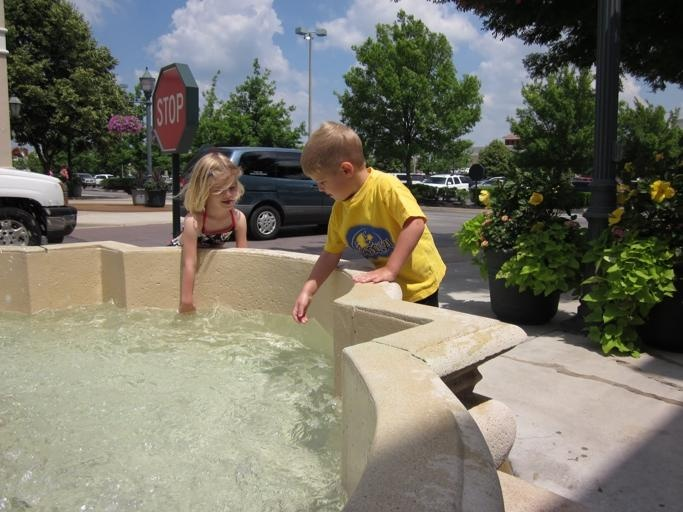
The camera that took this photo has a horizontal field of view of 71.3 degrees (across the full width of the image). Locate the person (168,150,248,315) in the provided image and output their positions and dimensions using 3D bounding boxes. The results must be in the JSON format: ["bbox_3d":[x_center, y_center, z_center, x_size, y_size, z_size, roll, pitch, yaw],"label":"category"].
[{"bbox_3d":[-1.007,-0.238,4.035,0.827,1.296,0.877,7,24,-8],"label":"person"}]

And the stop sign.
[{"bbox_3d":[-1.886,-1.662,5.415,0.287,0.965,0.831,-8,14,-38],"label":"stop sign"}]

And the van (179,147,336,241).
[{"bbox_3d":[-2.034,-1.634,12.033,3.543,1.754,1.829,-9,9,-36],"label":"van"}]

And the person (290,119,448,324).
[{"bbox_3d":[0.170,-0.193,2.725,0.808,1.097,0.692,3,11,12],"label":"person"}]
